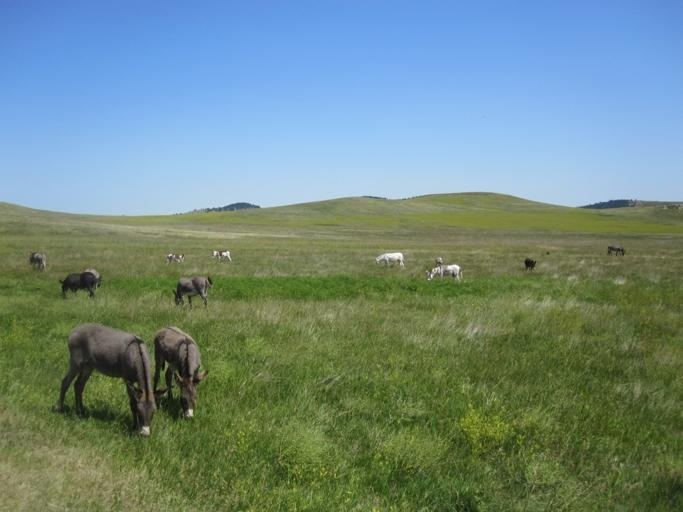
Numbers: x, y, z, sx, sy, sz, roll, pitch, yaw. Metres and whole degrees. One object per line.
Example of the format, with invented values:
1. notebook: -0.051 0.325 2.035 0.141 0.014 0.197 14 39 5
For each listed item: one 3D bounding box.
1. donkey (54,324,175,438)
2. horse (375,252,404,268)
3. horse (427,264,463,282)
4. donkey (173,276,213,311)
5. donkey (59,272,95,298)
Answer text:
1. donkey: -5.958 3.043 15.177 2.209 3.289 2.356 -3 15 -38
2. horse: 4.540 0.351 50.997 2.474 0.967 4.109 3 7 7
3. horse: 7.416 1.188 39.798 1.983 1.128 3.456 4 7 16
4. donkey: -6.982 1.681 26.238 1.445 1.396 1.699 0 7 -18
5. donkey: -12.671 1.350 27.330 1.520 1.183 1.842 -1 8 -24
